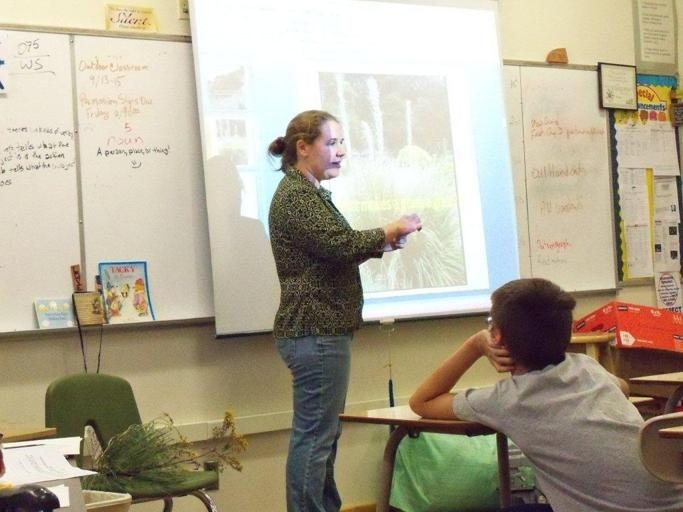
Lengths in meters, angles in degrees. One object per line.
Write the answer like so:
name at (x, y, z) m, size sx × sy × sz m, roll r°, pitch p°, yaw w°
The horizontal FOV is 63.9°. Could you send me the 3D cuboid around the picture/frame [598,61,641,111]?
picture/frame at (1.927, -1.171, 3.821) m, size 0.362 × 0.352 × 0.048 m, roll 5°, pitch -10°, yaw -33°
